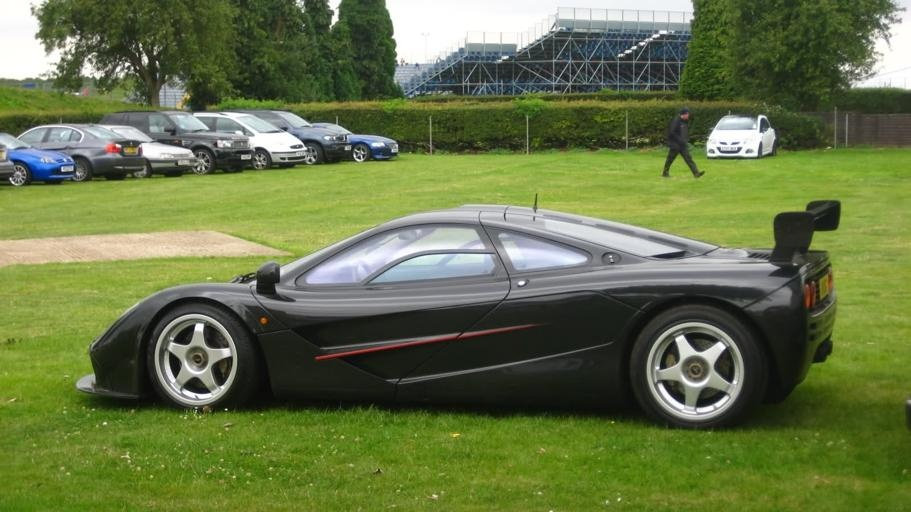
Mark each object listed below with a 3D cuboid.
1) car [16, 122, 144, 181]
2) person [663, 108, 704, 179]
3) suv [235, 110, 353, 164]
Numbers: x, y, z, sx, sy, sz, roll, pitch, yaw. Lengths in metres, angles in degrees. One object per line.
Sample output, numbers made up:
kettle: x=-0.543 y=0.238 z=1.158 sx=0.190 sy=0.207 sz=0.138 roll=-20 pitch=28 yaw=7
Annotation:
car: x=-13.396 y=-3.622 z=33.538 sx=5.545 sy=1.798 sz=2.291 roll=4 pitch=11 yaw=14
person: x=7.269 y=-3.642 z=31.514 sx=1.040 sy=2.568 sz=1.378 roll=-1 pitch=1 yaw=-35
suv: x=-6.337 y=-4.662 z=38.183 sx=4.405 sy=1.645 sz=1.990 roll=4 pitch=14 yaw=18
